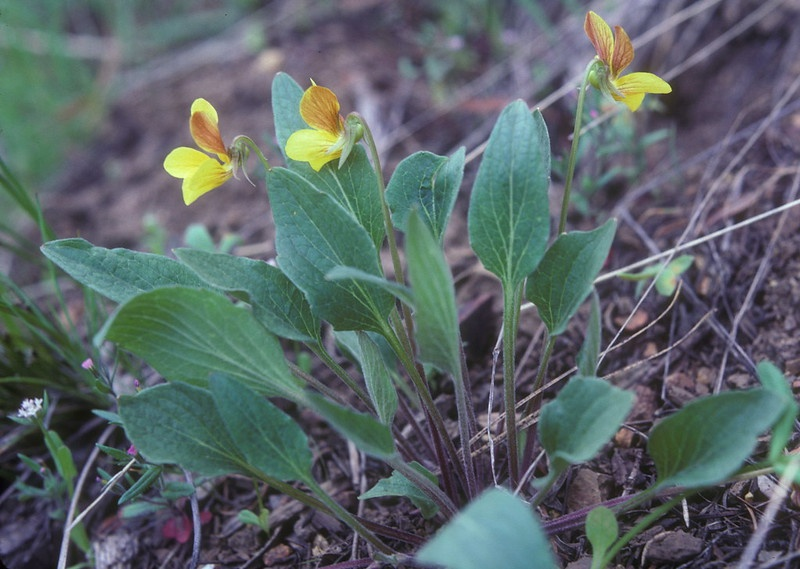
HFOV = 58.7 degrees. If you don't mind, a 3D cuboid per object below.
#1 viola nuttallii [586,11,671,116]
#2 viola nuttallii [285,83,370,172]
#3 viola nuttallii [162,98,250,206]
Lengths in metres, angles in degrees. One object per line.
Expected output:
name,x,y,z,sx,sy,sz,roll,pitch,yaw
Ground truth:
viola nuttallii,0.723,-0.708,2.282,0.228,0.325,0.231,-13,44,-7
viola nuttallii,-0.242,-0.494,2.272,0.247,0.273,0.105,18,1,-34
viola nuttallii,-0.629,-0.431,2.387,0.353,0.417,0.226,-14,76,-27
